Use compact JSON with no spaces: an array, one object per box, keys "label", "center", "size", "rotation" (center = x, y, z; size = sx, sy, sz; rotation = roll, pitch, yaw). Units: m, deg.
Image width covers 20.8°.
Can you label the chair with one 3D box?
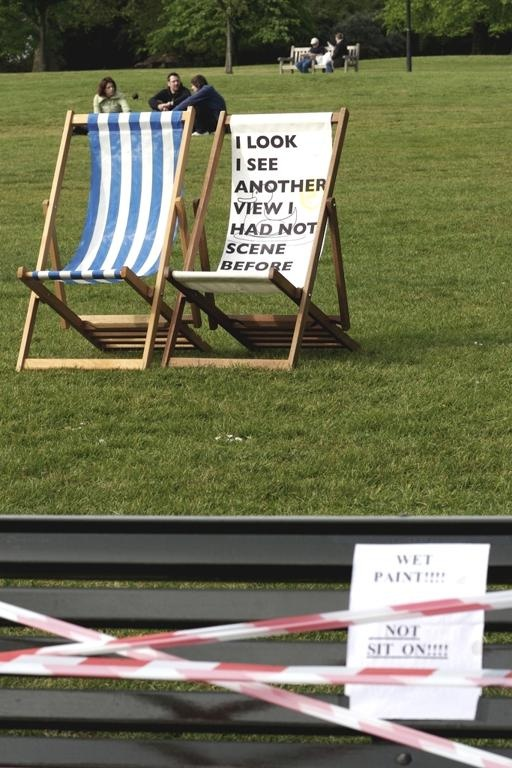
[{"label":"chair","center":[-0.322,-0.744,7.068],"size":[1.638,1.267,1.307],"rotation":[0,10,5]}]
